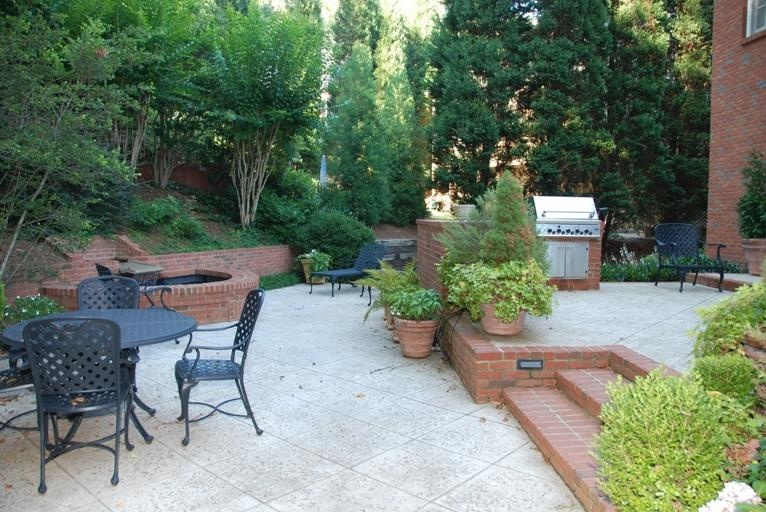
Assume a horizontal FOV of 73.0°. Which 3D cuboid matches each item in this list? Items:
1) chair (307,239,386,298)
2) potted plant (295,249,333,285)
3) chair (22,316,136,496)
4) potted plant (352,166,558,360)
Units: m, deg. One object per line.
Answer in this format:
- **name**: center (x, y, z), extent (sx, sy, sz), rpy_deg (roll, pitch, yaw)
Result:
- **chair**: center (-0.842, 0.275, 12.499), extent (1.820, 1.149, 1.125), rpy_deg (-1, 3, -41)
- **potted plant**: center (-1.800, 0.291, 13.456), extent (0.919, 0.649, 0.880), rpy_deg (0, 4, -10)
- **chair**: center (-2.850, 1.319, 4.888), extent (0.855, 1.558, 0.866), rpy_deg (0, 3, -22)
- **potted plant**: center (1.109, 0.184, 7.025), extent (2.304, 2.535, 1.222), rpy_deg (3, 3, 42)
